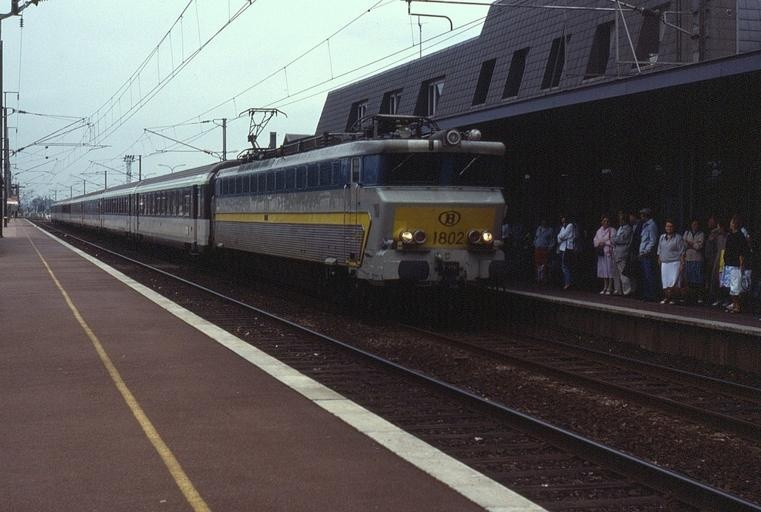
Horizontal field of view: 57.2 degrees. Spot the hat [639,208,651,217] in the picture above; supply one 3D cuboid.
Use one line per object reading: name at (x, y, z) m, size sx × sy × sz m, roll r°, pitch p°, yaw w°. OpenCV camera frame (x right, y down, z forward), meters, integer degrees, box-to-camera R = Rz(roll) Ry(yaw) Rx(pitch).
hat at (6.896, -1.120, 18.177) m, size 0.264 × 0.190 × 0.357 m, roll 1°, pitch 0°, yaw -9°
